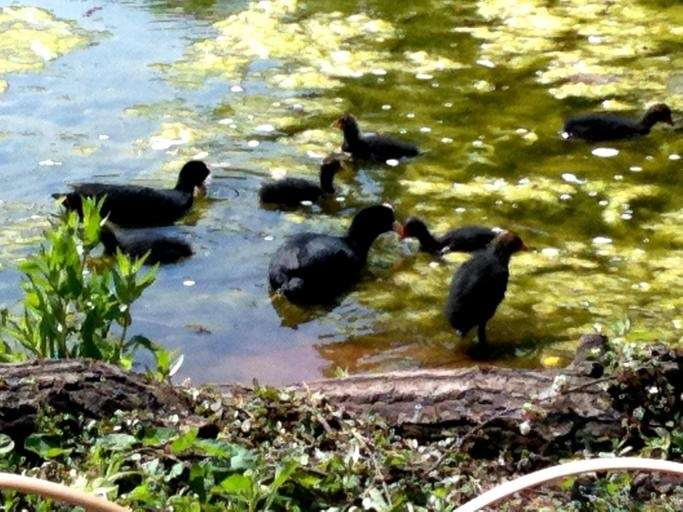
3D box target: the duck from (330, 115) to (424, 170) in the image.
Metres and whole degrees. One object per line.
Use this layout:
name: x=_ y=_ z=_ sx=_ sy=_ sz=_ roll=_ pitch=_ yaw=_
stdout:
duck: x=0.369 y=-1.306 z=10.585 sx=1.206 sy=0.655 sz=0.395 roll=14 pitch=60 yaw=3

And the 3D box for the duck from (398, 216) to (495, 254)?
duck: x=1.138 y=-0.168 z=9.164 sx=1.079 sy=0.398 sz=0.360 roll=-5 pitch=3 yaw=-9

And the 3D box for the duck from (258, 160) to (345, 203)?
duck: x=-0.451 y=-0.758 z=9.804 sx=1.047 sy=0.502 sz=0.307 roll=-10 pitch=22 yaw=-22

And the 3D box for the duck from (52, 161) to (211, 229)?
duck: x=-2.002 y=-0.541 z=9.388 sx=1.725 sy=0.858 sz=0.654 roll=1 pitch=29 yaw=-22

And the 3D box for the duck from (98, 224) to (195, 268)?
duck: x=-1.924 y=-0.158 z=8.836 sx=0.683 sy=0.366 sz=0.720 roll=19 pitch=32 yaw=38
